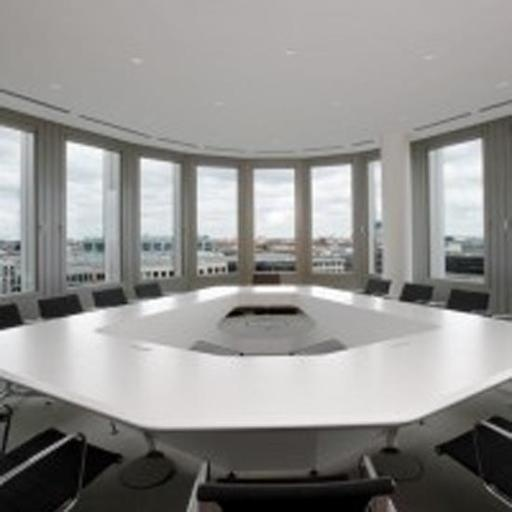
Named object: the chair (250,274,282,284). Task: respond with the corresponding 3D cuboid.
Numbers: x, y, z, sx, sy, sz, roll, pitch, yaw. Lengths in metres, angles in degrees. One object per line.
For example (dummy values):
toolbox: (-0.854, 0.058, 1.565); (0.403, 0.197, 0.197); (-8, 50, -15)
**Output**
chair: (0.197, 0.422, 7.516); (0.505, 0.198, 0.107); (0, 5, -2)
